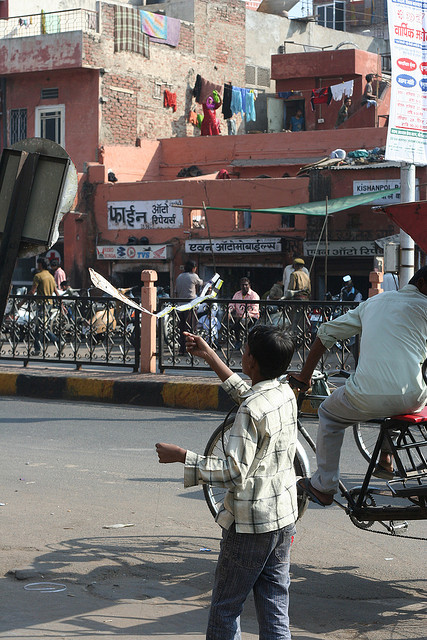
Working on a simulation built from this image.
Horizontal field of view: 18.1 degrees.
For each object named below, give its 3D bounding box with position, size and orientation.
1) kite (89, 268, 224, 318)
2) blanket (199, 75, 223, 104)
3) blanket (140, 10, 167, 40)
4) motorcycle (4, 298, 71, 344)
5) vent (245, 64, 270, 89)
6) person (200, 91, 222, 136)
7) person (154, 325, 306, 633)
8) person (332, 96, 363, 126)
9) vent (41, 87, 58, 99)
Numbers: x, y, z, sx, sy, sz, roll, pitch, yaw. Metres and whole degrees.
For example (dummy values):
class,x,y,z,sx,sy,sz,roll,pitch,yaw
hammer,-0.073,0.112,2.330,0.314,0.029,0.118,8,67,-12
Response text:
class,x,y,z,sx,sy,sz,roll,pitch,yaw
kite,-0.481,-0.184,12.672,1.143,0.514,0.835,-5,5,13
blanket,-0.072,-6.507,37.569,0.882,0.790,0.097,11,-5,-34
blanket,-1.577,-7.736,34.982,0.114,1.111,1.607,0,4,24
motorcycle,-2.036,0.030,15.168,0.249,0.506,1.243,-2,6,-40
vent,1.400,-7.478,40.833,0.185,0.655,1.344,5,5,33
person,-0.088,-5.819,37.339,0.479,1.239,0.835,4,5,18
person,0.111,0.676,5.734,0.616,1.280,0.344,1,5,-15
person,3.348,-5.140,32.739,0.610,0.818,2.012,2,5,2
vent,-4.139,-5.783,33.852,0.321,0.245,0.023,1,5,34
